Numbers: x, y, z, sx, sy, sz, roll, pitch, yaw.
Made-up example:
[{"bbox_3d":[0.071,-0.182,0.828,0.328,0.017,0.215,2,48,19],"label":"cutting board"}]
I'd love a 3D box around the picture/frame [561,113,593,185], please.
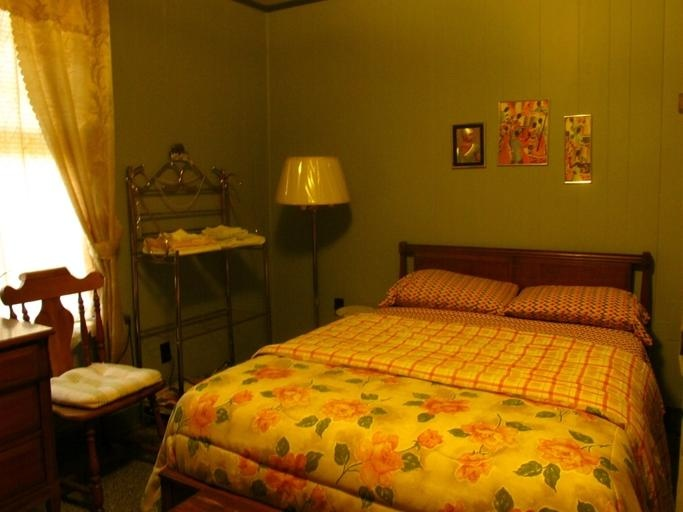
[{"bbox_3d":[1.571,-0.726,3.652,0.176,0.485,0.016,1,-8,14],"label":"picture/frame"}]

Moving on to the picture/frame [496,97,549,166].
[{"bbox_3d":[1.254,-0.877,3.767,0.388,0.572,0.023,6,13,30],"label":"picture/frame"}]

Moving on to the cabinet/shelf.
[{"bbox_3d":[-0.968,0.153,3.890,0.443,1.819,0.879,7,12,34],"label":"cabinet/shelf"}]
